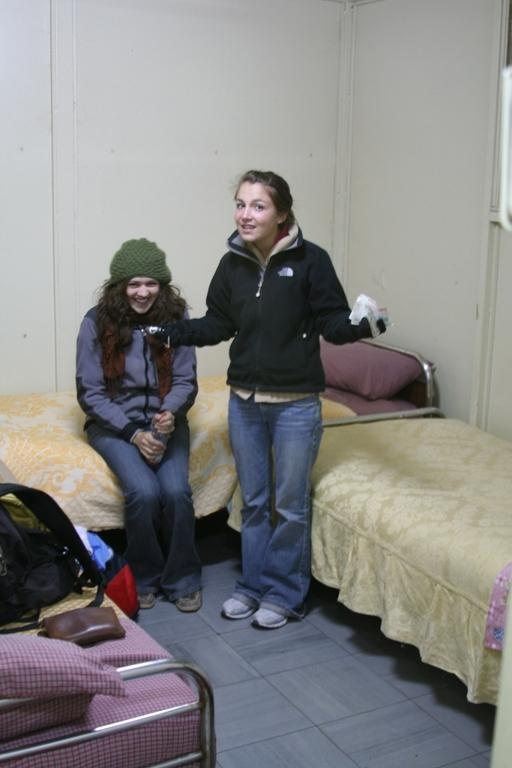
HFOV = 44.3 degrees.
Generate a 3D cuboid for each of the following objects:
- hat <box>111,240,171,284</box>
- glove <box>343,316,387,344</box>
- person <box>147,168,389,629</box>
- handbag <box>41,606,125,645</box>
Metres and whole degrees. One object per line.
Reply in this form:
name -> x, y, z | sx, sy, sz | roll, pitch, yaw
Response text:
hat -> -0.469, -0.490, 2.525 | 0.197, 0.145, 0.194 | 1, 10, -18
glove -> 0.331, -0.157, 1.876 | 0.067, 0.086, 0.037 | 7, -5, 0
person -> 0.028, 0.070, 2.230 | 0.589, 1.572, 0.259 | 7, 10, 37
handbag -> -0.394, 0.555, 1.435 | 0.150, 0.038, 0.146 | -4, 10, -34
